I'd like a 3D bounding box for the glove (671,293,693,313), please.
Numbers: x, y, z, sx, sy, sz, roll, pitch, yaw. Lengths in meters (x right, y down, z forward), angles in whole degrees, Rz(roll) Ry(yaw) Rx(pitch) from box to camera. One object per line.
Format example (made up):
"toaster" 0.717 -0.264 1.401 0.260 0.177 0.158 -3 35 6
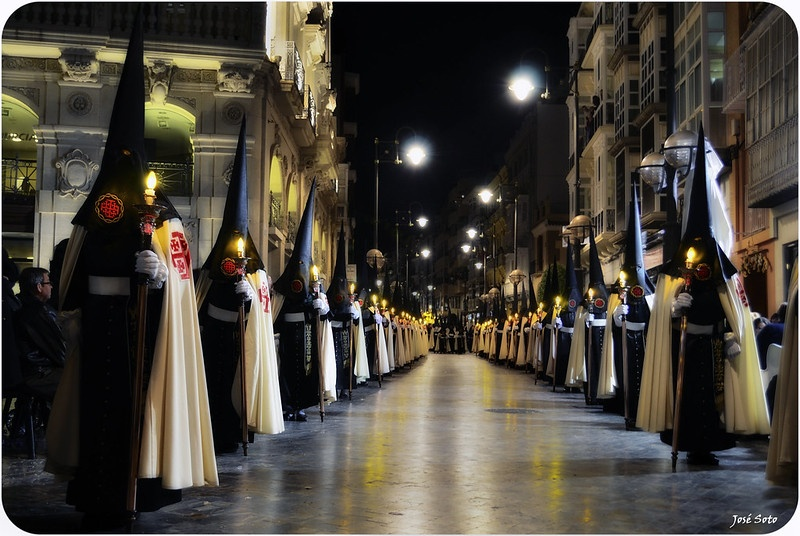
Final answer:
"glove" 4.524 0.580 15.387 0.303 0.342 0.196 -4 -13 16

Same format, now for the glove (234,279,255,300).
"glove" -2.553 0.383 15.907 0.170 0.263 0.342 -10 -3 6

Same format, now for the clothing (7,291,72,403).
"clothing" -5.919 1.238 16.154 1.114 1.745 1.141 6 14 41

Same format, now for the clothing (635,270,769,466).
"clothing" 5.082 1.341 15.963 1.858 3.909 1.145 2 -16 7

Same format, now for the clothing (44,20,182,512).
"clothing" -3.822 -0.024 13.058 1.284 6.748 1.417 8 -15 -35

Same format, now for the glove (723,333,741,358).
"glove" 5.332 1.257 15.436 0.249 0.373 0.142 -1 -9 -4
